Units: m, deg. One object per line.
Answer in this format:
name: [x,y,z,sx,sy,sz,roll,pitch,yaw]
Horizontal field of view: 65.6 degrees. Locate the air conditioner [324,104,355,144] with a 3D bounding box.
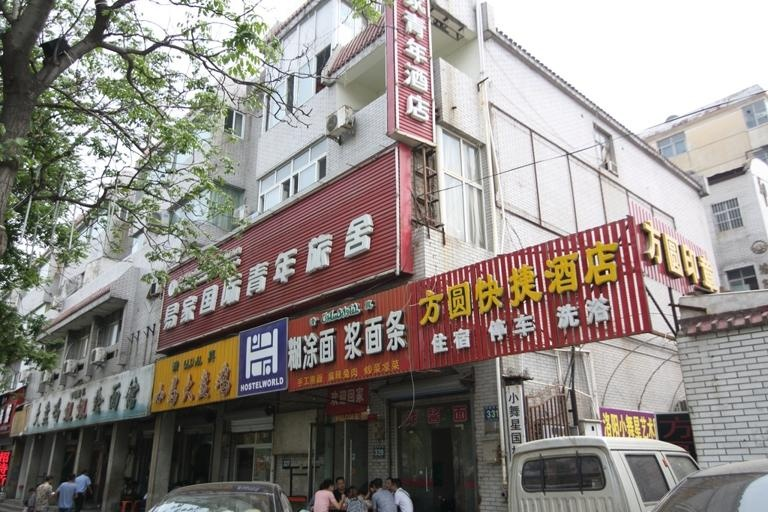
air conditioner: [-1.332,-3.953,17.797,1.047,0.961,0.608,-1,2,38]
